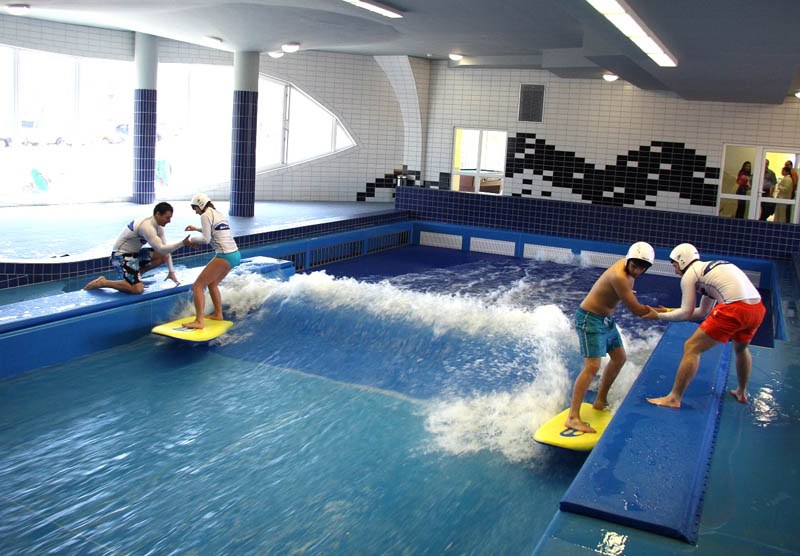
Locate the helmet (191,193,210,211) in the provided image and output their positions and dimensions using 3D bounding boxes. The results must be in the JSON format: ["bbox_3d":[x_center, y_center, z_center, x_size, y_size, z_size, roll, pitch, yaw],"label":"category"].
[{"bbox_3d":[-2.271,-0.872,5.214,0.196,0.188,0.146,-7,18,-26],"label":"helmet"}]

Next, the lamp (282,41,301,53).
[{"bbox_3d":[-2.240,-4.727,9.322,0.384,0.143,0.590,-3,16,-13],"label":"lamp"}]

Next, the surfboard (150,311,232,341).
[{"bbox_3d":[-2.407,0.561,5.353,0.649,0.113,0.624,4,16,13],"label":"surfboard"}]

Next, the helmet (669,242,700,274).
[{"bbox_3d":[2.096,-0.150,3.404,0.253,0.234,0.193,10,8,30],"label":"helmet"}]

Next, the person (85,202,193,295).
[{"bbox_3d":[-3.098,-0.351,5.339,1.207,0.977,0.589,-5,11,-29],"label":"person"}]

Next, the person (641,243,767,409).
[{"bbox_3d":[2.257,0.334,3.399,0.944,1.124,0.482,-4,17,-15],"label":"person"}]

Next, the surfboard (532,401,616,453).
[{"bbox_3d":[1.370,1.168,3.591,0.400,0.267,0.785,11,19,34],"label":"surfboard"}]
